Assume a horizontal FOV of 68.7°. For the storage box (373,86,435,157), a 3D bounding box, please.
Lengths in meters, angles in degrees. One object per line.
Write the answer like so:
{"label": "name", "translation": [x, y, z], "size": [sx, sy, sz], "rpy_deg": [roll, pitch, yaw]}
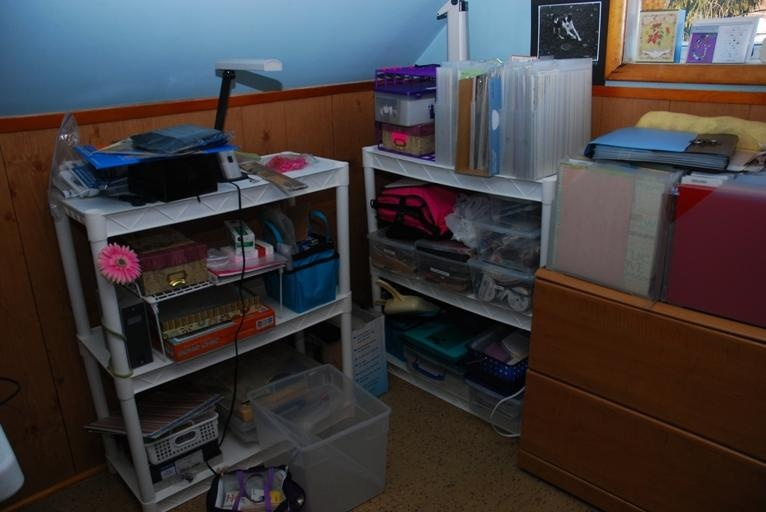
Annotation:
{"label": "storage box", "translation": [0.118, -0.691, 2.801], "size": [0.314, 0.300, 0.319], "rpy_deg": [15, 27, 33]}

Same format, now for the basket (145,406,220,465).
{"label": "basket", "translation": [-0.859, 0.788, 2.399], "size": [0.253, 0.089, 0.167], "rpy_deg": [-20, 20, -33]}

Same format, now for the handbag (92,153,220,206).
{"label": "handbag", "translation": [-0.826, -0.296, 2.206], "size": [0.265, 0.160, 0.266], "rpy_deg": [18, 30, 40]}

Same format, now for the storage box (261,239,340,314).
{"label": "storage box", "translation": [-0.376, 0.070, 2.655], "size": [0.309, 0.235, 0.319], "rpy_deg": [-17, 17, -30]}

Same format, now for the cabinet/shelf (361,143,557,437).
{"label": "cabinet/shelf", "translation": [0.377, 0.165, 2.673], "size": [0.974, 1.187, 0.925], "rpy_deg": [17, 32, 30]}

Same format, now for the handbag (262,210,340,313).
{"label": "handbag", "translation": [-0.386, 0.042, 2.555], "size": [0.337, 0.448, 0.328], "rpy_deg": [-23, 27, -36]}

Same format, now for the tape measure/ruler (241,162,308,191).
{"label": "tape measure/ruler", "translation": [-0.475, -0.343, 2.392], "size": [0.115, 0.030, 0.380], "rpy_deg": [-24, 44, -36]}

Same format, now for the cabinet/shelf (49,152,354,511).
{"label": "cabinet/shelf", "translation": [-0.806, 0.352, 2.377], "size": [1.146, 1.313, 0.550], "rpy_deg": [-25, 37, -38]}

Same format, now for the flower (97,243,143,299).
{"label": "flower", "translation": [-0.971, 0.032, 2.056], "size": [0.146, 0.062, 0.146], "rpy_deg": [22, 54, -31]}
